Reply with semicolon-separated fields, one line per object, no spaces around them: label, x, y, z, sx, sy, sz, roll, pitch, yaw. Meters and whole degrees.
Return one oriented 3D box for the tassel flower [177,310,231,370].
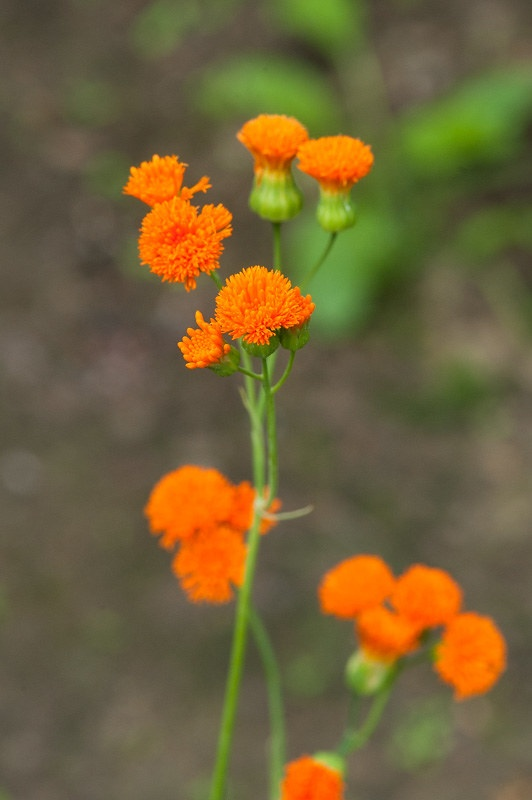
tassel flower;-0.045;-0.055;0.682;0.040;0.024;0.042;28;13;-26

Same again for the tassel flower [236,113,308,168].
tassel flower;0.005;-0.226;0.750;0.069;0.047;0.063;-7;34;-12

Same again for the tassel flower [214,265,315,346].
tassel flower;-0.005;-0.071;0.637;0.062;0.058;0.021;36;-6;3

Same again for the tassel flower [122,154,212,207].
tassel flower;-0.088;-0.175;0.693;0.064;0.035;0.058;-6;-17;6

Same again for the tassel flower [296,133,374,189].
tassel flower;0.060;-0.207;0.753;0.080;0.039;0.075;5;26;21

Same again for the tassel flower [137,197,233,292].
tassel flower;-0.062;-0.133;0.679;0.084;0.046;0.076;8;2;-25
